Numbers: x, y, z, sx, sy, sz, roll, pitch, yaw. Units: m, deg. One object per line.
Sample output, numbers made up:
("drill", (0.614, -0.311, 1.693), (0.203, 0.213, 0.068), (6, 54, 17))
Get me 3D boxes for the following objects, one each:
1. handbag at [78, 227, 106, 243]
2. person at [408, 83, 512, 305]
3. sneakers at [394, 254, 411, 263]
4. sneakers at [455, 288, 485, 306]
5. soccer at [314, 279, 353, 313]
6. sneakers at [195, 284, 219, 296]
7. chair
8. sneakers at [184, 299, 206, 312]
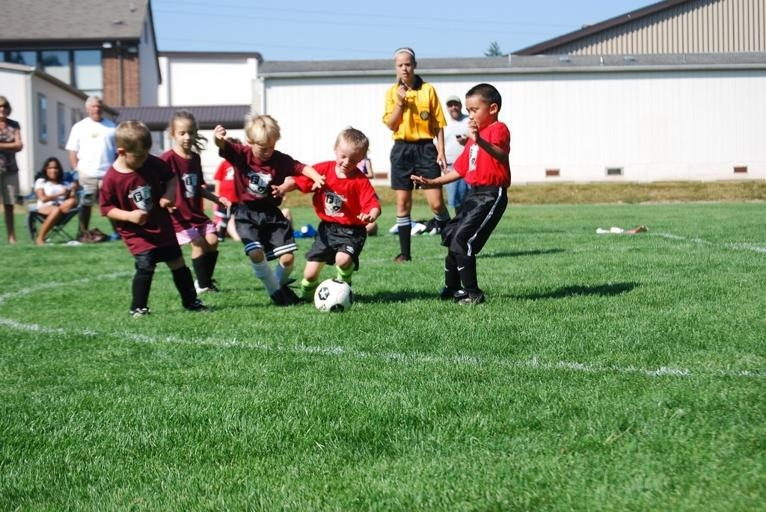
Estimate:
("handbag", (-4.332, -0.279, 13.787), (0.309, 0.127, 0.233), (-6, -7, 36))
("person", (0.751, -0.563, 8.474), (0.702, 1.933, 0.695), (5, 10, 37))
("sneakers", (0.203, 0.048, 10.768), (0.209, 0.090, 0.077), (3, 0, -18))
("sneakers", (0.767, 0.387, 8.405), (0.291, 0.134, 0.107), (0, 9, 6))
("soccer", (-0.454, 0.393, 8.339), (0.289, 0.295, 0.278), (17, -29, -34))
("sneakers", (-1.749, 0.345, 9.296), (0.246, 0.113, 0.092), (-3, 5, 14))
("chair", (-4.891, -0.788, 13.992), (0.806, 1.334, 0.651), (0, 2, 20))
("sneakers", (-1.714, 0.455, 8.483), (0.214, 0.101, 0.088), (0, 11, -6))
